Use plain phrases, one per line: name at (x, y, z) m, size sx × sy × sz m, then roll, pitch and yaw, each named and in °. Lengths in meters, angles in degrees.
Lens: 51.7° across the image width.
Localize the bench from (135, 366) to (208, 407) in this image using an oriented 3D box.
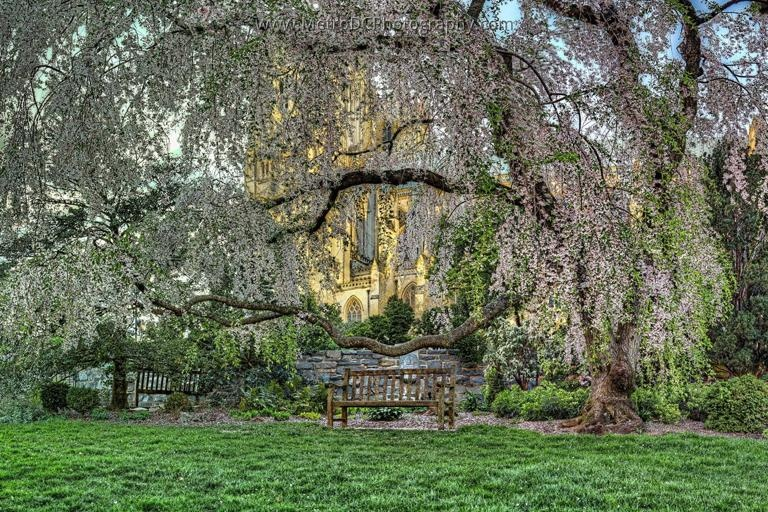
bench at (-6.021, 3.752, 21.813) m, size 2.053 × 1.306 × 0.064 m, roll -2°, pitch -27°, yaw 20°
